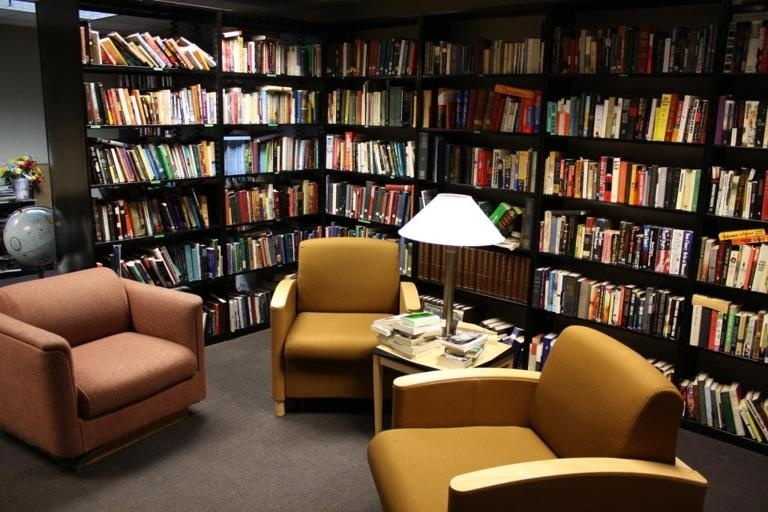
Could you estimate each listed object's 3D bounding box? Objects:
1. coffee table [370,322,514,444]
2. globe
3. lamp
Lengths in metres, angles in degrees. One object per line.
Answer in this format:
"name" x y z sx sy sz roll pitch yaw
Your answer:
"coffee table" 0.277 0.843 3.923 0.961 0.780 1.029 -3 15 -39
"globe" -3.301 -0.139 5.144 0.561 0.667 0.642 -1 -6 -44
"lamp" 0.487 0.084 3.839 0.695 1.034 0.690 -7 20 -16
